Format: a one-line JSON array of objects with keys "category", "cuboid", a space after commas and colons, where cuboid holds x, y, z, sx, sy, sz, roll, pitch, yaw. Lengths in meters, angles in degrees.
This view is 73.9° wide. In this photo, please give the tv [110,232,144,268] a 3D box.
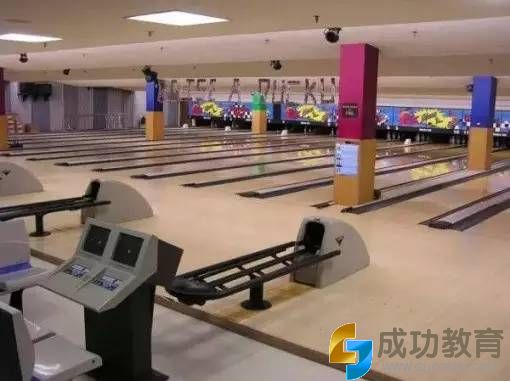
[{"category": "tv", "cuboid": [-0.550, 0.262, 1.469, 0.151, 0.125, 0.076, 12, -12, 29]}]

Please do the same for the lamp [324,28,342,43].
[{"category": "lamp", "cuboid": [1.093, -2.209, 4.826, 0.196, 0.214, 0.090, 4, 21, 8]}]

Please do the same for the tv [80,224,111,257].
[{"category": "tv", "cuboid": [-0.757, 0.242, 1.617, 0.146, 0.127, 0.077, 17, 2, 27]}]
